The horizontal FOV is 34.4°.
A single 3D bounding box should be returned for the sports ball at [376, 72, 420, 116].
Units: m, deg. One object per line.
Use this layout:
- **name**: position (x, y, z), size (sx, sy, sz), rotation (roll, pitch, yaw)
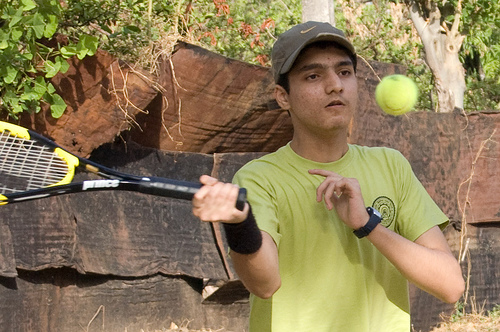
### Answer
- **sports ball**: position (1.505, -0.721, 8.209), size (0.379, 0.418, 0.398), rotation (0, 2, 0)
